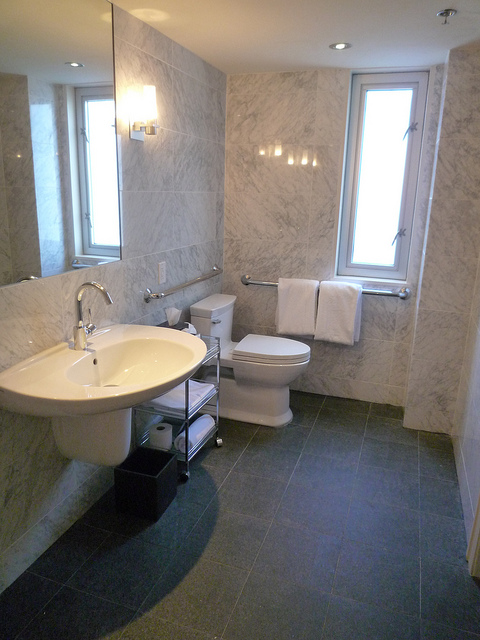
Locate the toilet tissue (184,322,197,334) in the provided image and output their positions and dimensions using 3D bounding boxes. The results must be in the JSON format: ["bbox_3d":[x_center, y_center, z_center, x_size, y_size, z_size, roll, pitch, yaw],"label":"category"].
[{"bbox_3d":[-0.255,0.046,2.492,0.036,0.052,0.045,7,10,29],"label":"toilet tissue"}]

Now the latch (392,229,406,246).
[{"bbox_3d":[1.046,-0.545,3.145,0.064,0.100,0.068,3,5,-23],"label":"latch"}]

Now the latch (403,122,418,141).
[{"bbox_3d":[1.058,-1.172,2.962,0.070,0.084,0.019,5,11,16],"label":"latch"}]

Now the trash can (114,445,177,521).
[{"bbox_3d":[-0.369,0.650,2.031,0.239,0.268,0.248,2,8,15],"label":"trash can"}]

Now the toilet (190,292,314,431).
[{"bbox_3d":[0.069,0.228,2.991,0.716,0.852,0.552,6,23,6],"label":"toilet"}]
